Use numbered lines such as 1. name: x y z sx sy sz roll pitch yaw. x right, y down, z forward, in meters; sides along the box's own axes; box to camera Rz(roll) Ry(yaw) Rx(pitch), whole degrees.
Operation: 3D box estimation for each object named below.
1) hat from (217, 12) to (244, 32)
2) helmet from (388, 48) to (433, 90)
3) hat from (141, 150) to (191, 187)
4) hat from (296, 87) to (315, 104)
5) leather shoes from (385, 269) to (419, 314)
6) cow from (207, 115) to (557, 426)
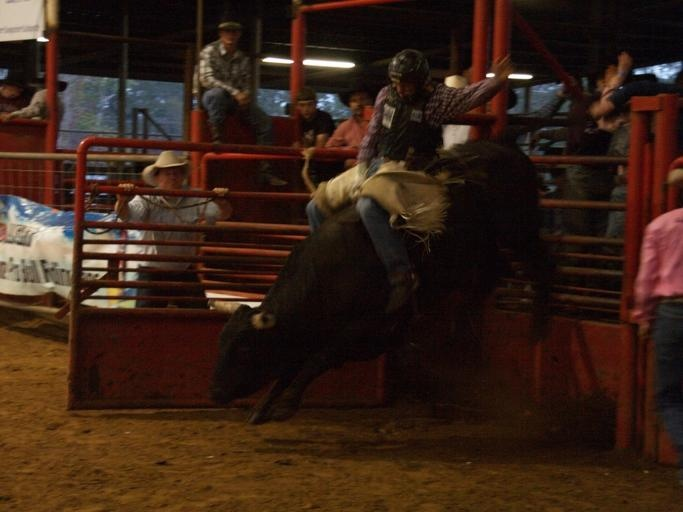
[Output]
1. hat: -1.208 -2.516 7.871 0.221 0.203 0.270 2 9 -12
2. helmet: 0.470 -1.348 5.247 0.269 0.207 0.325 31 47 31
3. hat: -1.590 -0.780 6.514 0.384 0.313 0.365 2 9 -13
4. hat: -0.375 -1.664 7.486 0.158 0.103 0.174 0 0 6
5. leather shoes: 0.411 0.246 4.982 0.196 0.319 0.259 6 10 5
6. cow: 0.393 0.169 5.277 2.502 2.074 0.549 -2 14 -34
